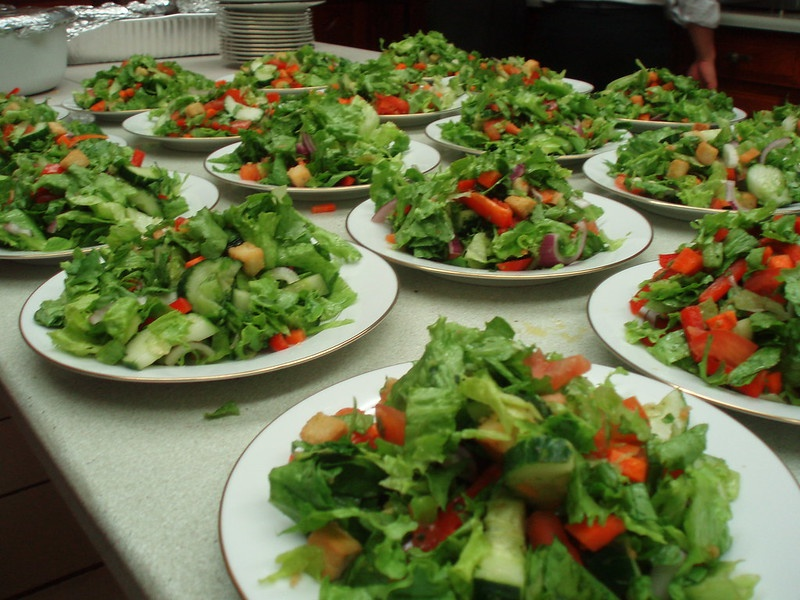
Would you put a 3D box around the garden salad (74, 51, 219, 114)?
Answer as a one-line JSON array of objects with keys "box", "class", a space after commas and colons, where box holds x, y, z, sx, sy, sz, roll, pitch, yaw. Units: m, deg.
[{"box": [-1.197, -0.990, 2.888, 0.582, 0.173, 0.541, -14, 21, -35], "class": "garden salad"}]

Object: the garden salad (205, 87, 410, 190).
[{"box": [-0.269, -0.479, 2.040, 0.743, 0.204, 0.546, -1, 21, 0], "class": "garden salad"}]

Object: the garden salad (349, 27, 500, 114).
[{"box": [-0.005, -1.219, 3.225, 0.753, 0.191, 0.652, -3, 17, 40], "class": "garden salad"}]
